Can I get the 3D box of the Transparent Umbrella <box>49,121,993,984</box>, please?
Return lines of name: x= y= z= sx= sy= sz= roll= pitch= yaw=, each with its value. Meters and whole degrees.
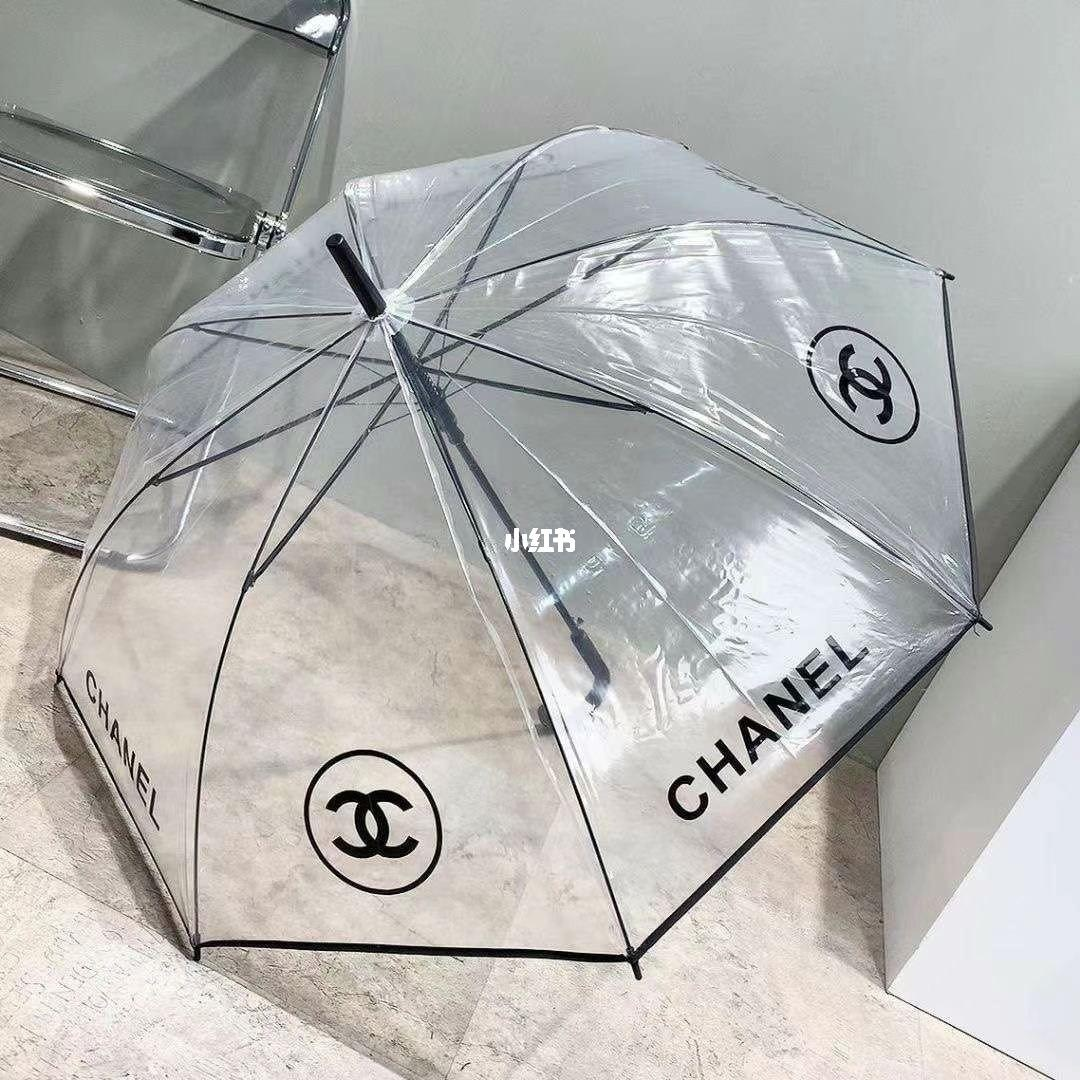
Transparent Umbrella: x=0.026 y=0.093 z=1.450 sx=0.919 sy=1.033 sz=0.477 roll=24 pitch=-9 yaw=34
